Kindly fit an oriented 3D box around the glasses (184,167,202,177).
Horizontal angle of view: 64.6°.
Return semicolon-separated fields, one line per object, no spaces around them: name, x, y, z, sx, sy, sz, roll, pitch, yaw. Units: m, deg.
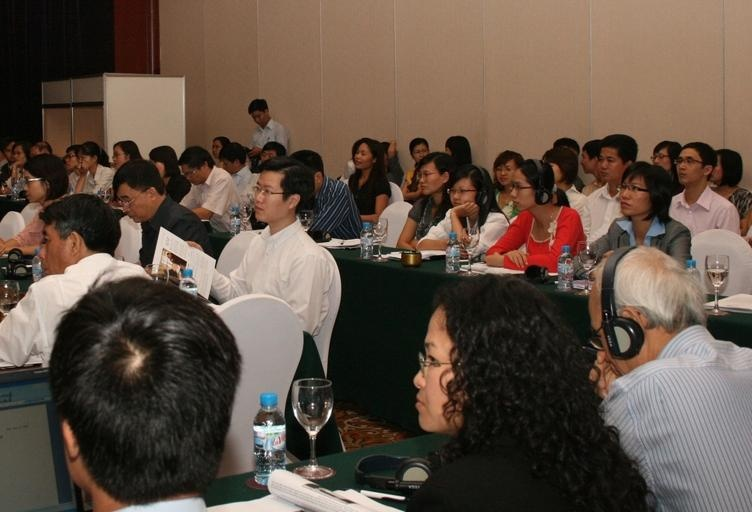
glasses;-1.928;-0.869;6.245;0.097;0.072;0.128;-1;-3;45

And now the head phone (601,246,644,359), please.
head phone;0.637;0.124;1.531;0.092;0.321;0.238;-8;-7;31

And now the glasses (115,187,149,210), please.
glasses;-1.612;-0.383;3.882;0.136;0.059;0.147;14;4;33

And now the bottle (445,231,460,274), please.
bottle;0.427;-0.019;3.295;0.074;0.199;0.266;1;5;6

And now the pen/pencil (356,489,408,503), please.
pen/pencil;0.015;0.562;1.391;0.130;0.021;0.021;8;46;-2

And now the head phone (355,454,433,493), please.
head phone;0.050;0.534;1.475;0.138;0.076;0.134;2;8;20

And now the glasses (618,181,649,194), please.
glasses;1.398;-0.374;3.243;0.051;0.056;0.157;-4;7;-38

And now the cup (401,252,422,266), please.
cup;0.206;0.018;3.475;0.079;0.067;0.086;0;-1;0

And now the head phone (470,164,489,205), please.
head phone;0.712;-0.484;4.130;0.099;0.316;0.236;-15;0;6

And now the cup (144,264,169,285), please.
cup;-0.872;0.070;2.380;0.074;0.073;0.083;-1;7;-10

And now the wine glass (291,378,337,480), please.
wine glass;-0.173;0.476;1.630;0.110;0.264;0.338;0;5;-7
